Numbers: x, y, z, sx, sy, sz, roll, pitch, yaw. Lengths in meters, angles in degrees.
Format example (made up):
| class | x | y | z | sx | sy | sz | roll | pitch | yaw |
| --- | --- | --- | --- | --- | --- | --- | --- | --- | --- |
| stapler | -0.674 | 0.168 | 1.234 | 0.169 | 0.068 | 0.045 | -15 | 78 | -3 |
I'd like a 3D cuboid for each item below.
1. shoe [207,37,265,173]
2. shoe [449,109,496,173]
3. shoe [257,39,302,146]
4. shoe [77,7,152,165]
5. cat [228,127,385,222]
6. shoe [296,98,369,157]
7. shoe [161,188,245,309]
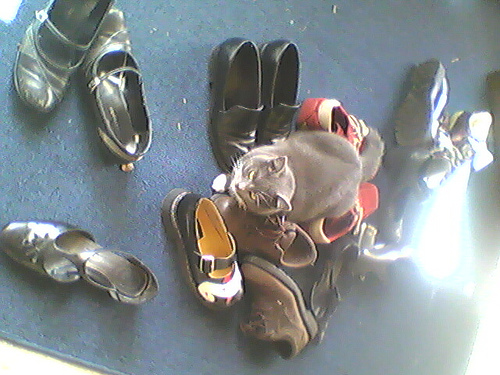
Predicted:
| class | x | y | z | sx | sy | sz | roll | pitch | yaw |
| --- | --- | --- | --- | --- | --- | --- | --- | --- | --- |
| shoe | -0.061 | -0.262 | 1.956 | 0.169 | 0.178 | 0.441 | -2 | 102 | -14 |
| shoe | 0.787 | -0.156 | 2.102 | 0.160 | 0.065 | 0.221 | 2 | 92 | -4 |
| shoe | 0.078 | -0.306 | 1.940 | 0.123 | 0.135 | 0.360 | 3 | 96 | -10 |
| shoe | -0.420 | -0.294 | 1.940 | 0.208 | 0.172 | 0.521 | -14 | 97 | -23 |
| cat | 0.172 | -0.036 | 1.818 | 0.417 | 0.145 | 0.236 | -7 | 92 | -30 |
| shoe | 0.222 | -0.184 | 1.923 | 0.119 | 0.127 | 0.284 | 63 | 24 | -12 |
| shoe | -0.148 | 0.218 | 1.950 | 0.211 | 0.137 | 0.403 | -28 | 104 | -35 |
